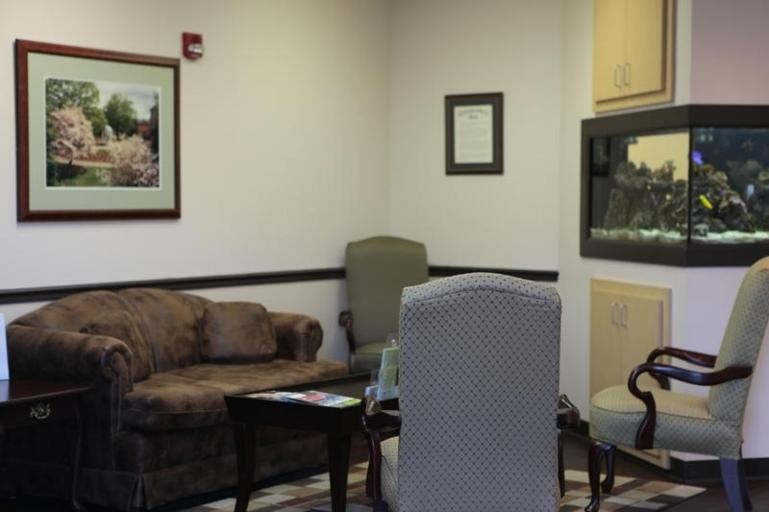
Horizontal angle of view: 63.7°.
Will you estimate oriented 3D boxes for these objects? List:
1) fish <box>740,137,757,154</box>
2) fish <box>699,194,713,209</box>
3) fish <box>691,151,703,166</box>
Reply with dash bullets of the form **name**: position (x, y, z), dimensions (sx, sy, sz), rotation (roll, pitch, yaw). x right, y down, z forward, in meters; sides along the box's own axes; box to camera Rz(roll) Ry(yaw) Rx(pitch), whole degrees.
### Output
- **fish**: position (2.558, -0.777, 4.356), dimensions (0.103, 0.107, 0.036), rotation (5, -3, -7)
- **fish**: position (2.237, -0.378, 4.320), dimensions (0.062, 0.119, 0.044), rotation (-38, 5, -2)
- **fish**: position (2.176, -0.688, 4.305), dimensions (0.079, 0.099, 0.015), rotation (-2, 8, -11)
